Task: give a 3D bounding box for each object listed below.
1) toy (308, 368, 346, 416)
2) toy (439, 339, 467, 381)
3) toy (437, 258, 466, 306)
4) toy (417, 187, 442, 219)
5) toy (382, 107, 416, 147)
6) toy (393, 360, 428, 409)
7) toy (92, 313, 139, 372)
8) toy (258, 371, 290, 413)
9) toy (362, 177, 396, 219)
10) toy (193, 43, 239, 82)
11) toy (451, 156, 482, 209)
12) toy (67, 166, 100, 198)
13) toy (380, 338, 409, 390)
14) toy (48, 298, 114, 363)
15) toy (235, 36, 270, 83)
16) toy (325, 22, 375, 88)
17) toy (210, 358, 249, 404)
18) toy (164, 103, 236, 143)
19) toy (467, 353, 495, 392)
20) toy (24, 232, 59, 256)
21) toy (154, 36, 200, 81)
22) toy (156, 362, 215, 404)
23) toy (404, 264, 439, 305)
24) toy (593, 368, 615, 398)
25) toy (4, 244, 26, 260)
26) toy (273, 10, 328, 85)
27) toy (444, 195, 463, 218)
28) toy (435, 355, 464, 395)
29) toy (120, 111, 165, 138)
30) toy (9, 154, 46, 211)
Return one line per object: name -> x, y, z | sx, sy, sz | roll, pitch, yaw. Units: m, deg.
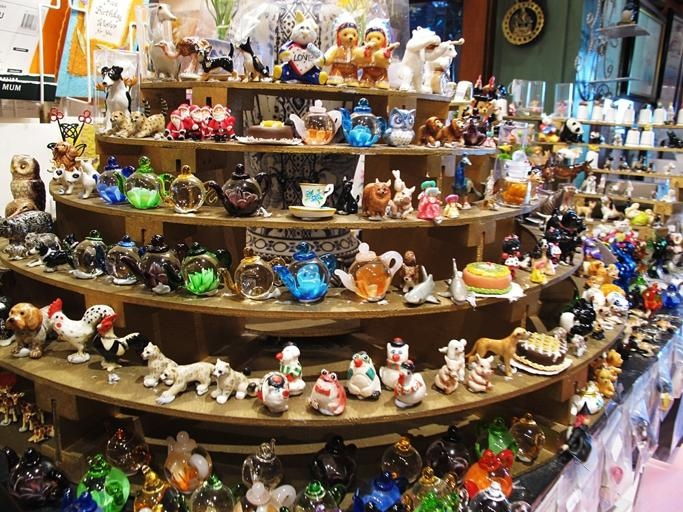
toy -> -0.071, 0.721, 2.660 | 0.216, 0.220, 0.166 | 4, 11, -3
toy -> 0.663, 0.590, 2.868 | 0.190, 0.225, 0.136 | -8, 9, -25
toy -> 0.688, 0.133, 2.989 | 0.172, 0.235, 0.304 | 7, 11, 14
toy -> 0.525, -0.319, 3.049 | 0.171, 0.238, 0.217 | 1, 9, 21
toy -> 0.373, -0.833, 3.186 | 0.189, 0.254, 0.230 | 5, 11, 5
toy -> 0.332, 0.708, 2.720 | 0.176, 0.250, 0.232 | -1, -4, 32
toy -> -1.314, 0.500, 2.902 | 0.260, 0.303, 0.179 | 5, 5, -33
toy -> -0.365, 0.720, 2.636 | 0.167, 0.199, 0.159 | 3, 11, -6
toy -> 0.208, -0.350, 2.974 | 0.140, 0.220, 0.283 | 1, 11, -14
toy -> -0.811, -1.240, 3.171 | 0.287, 0.267, 0.102 | 0, 7, 0
toy -> 0.926, -0.556, 3.595 | 0.213, 0.359, 0.607 | 7, 11, 13
toy -> -1.681, -0.497, 3.310 | 0.095, 0.198, 0.266 | 15, 20, 38
toy -> 0.320, 0.626, 2.846 | 0.209, 0.282, 0.170 | 3, 1, 31
toy -> -1.557, 0.450, 2.949 | 0.364, 0.348, 0.137 | 4, 5, -9
toy -> -0.568, -1.250, 3.122 | 0.219, 0.272, 0.146 | -14, 32, -31
toy -> 0.033, -1.291, 3.153 | 0.328, 0.402, 0.186 | 2, 11, -9
toy -> -0.614, 0.681, 2.749 | 0.178, 0.212, 0.244 | 6, 7, 41
toy -> -0.877, -0.812, 2.991 | 0.447, 0.242, 0.230 | 2, 11, -9
toy -> 0.811, 0.681, 2.881 | 0.145, 0.210, 0.152 | 6, 1, 5
toy -> -1.995, -0.092, 3.340 | 0.223, 0.149, 0.124 | -8, 12, -9
toy -> -1.088, -1.322, 3.337 | 0.327, 0.243, 0.294 | 5, 31, 12
toy -> -0.863, 0.675, 2.725 | 0.289, 0.103, 0.174 | -8, 15, -40
toy -> 0.471, 0.168, 2.896 | 0.157, 0.157, 0.235 | 7, 21, 23
toy -> 1.928, 0.903, 3.537 | 0.209, 0.189, 0.104 | 0, 12, -21
toy -> -2.182, -0.029, 3.273 | 0.117, 0.072, 0.136 | 1, 4, -37
toy -> -0.245, -1.280, 3.036 | 0.330, 0.404, 0.207 | 3, 33, -6
toy -> 0.694, -0.315, 3.088 | 0.102, 0.139, 0.227 | 6, 11, 11
toy -> 0.632, 0.674, 2.850 | 0.146, 0.191, 0.141 | 12, 17, -1
toy -> -1.284, -0.834, 3.146 | 0.348, 0.170, 0.129 | 0, 20, -4
toy -> -2.321, -0.545, 3.627 | 0.217, 0.390, 0.211 | 1, 12, -16
